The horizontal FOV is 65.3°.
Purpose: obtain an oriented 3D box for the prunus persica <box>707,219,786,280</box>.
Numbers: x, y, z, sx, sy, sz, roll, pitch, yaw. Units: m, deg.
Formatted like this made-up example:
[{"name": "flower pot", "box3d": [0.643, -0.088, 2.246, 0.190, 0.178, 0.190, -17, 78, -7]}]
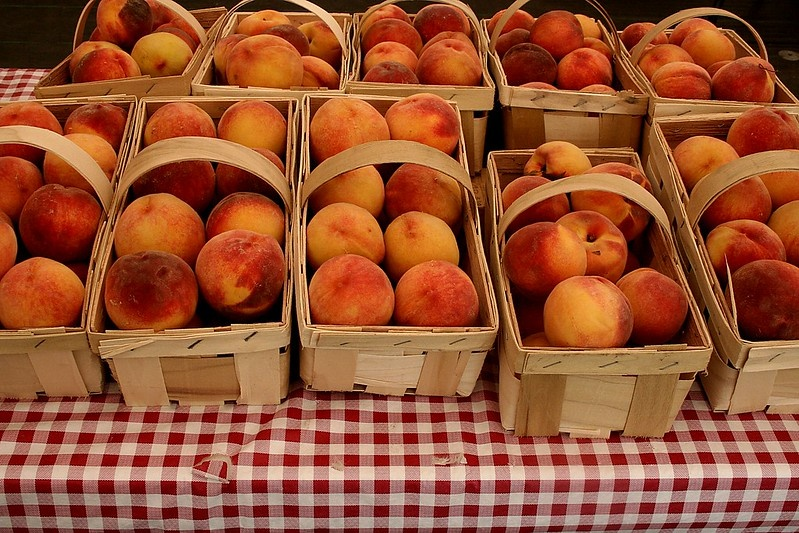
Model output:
[{"name": "prunus persica", "box3d": [1.098, -0.075, 2.043, 0.218, 0.213, 0.214, 2, 48, 15]}]
